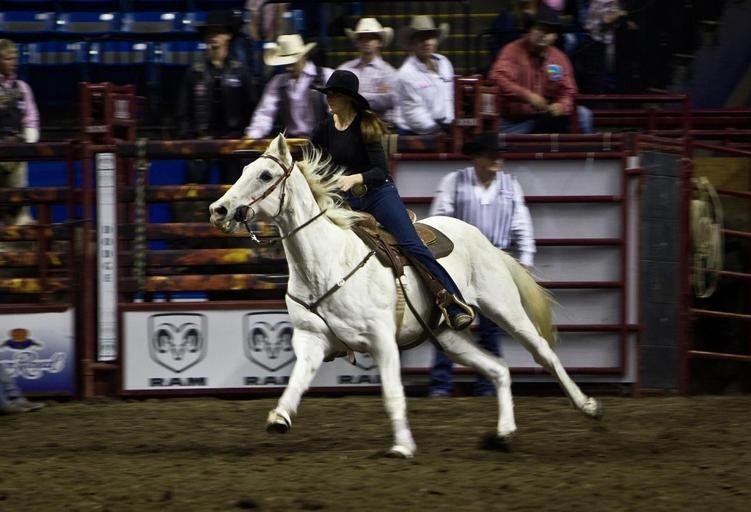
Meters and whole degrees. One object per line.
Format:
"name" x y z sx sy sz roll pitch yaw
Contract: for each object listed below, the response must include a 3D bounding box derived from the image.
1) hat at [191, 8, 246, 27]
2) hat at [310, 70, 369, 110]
"hat" -1.618 -2.543 15.189 0.693 0.132 0.560 0 2 -8
"hat" -0.290 -1.496 12.719 0.522 0.151 0.391 14 -5 -27
